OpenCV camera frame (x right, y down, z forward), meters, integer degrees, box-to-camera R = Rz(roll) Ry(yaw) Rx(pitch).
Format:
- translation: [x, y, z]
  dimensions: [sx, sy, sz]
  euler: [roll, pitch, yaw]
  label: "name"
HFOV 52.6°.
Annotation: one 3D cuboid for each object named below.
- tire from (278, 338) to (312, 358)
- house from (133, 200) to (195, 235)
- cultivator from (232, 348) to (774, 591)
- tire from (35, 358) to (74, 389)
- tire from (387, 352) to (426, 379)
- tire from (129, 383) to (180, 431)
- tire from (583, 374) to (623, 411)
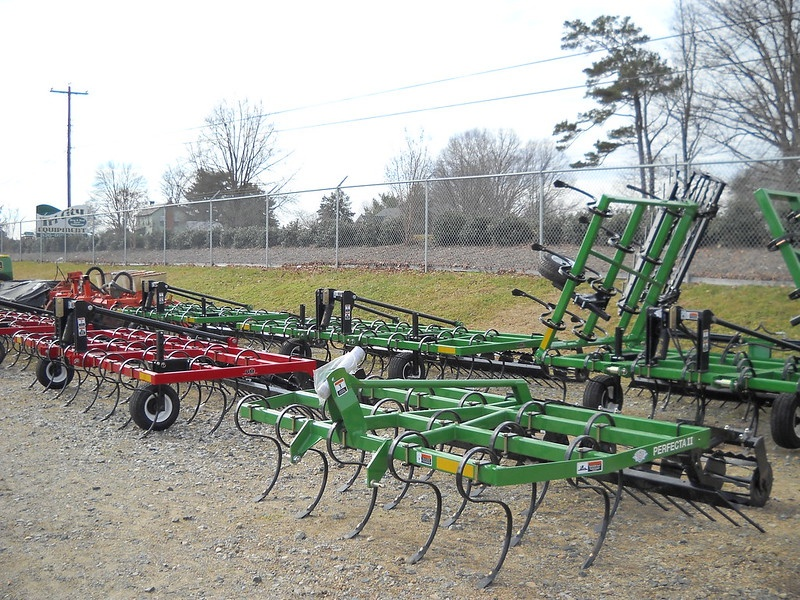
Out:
- translation: [-1.334, 0.632, 10.441]
  dimensions: [0.115, 0.279, 0.326]
  euler: [11, 6, 37]
  label: "tire"
- translation: [-7.615, -2.481, 26.117]
  dimensions: [0.787, 1.128, 3.063]
  euler: [-13, 18, -38]
  label: "house"
- translation: [0.910, 1.045, 6.237]
  dimensions: [3.007, 1.185, 2.259]
  euler: [5, 11, 44]
  label: "cultivator"
- translation: [-4.162, 0.900, 9.818]
  dimensions: [0.402, 0.355, 0.151]
  euler: [-29, 19, -35]
  label: "tire"
- translation: [0.084, 0.813, 9.844]
  dimensions: [0.361, 0.305, 0.131]
  euler: [12, -2, -42]
  label: "tire"
- translation: [-2.512, 1.107, 8.271]
  dimensions: [0.220, 0.487, 0.568]
  euler: [-8, 6, 39]
  label: "tire"
- translation: [2.069, 0.965, 8.297]
  dimensions: [0.529, 0.442, 0.192]
  euler: [4, 7, -39]
  label: "tire"
